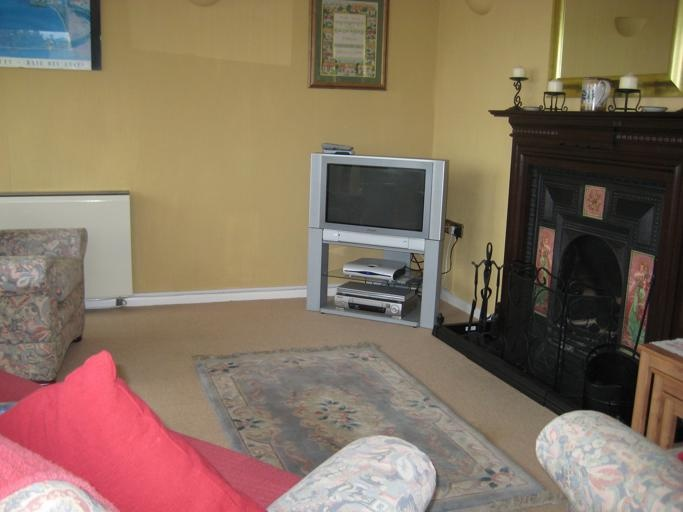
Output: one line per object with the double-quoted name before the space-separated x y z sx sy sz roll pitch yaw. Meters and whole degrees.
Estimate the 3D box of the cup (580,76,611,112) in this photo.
"cup" 1.420 -0.908 2.896 0.142 0.189 0.213 7 15 24
